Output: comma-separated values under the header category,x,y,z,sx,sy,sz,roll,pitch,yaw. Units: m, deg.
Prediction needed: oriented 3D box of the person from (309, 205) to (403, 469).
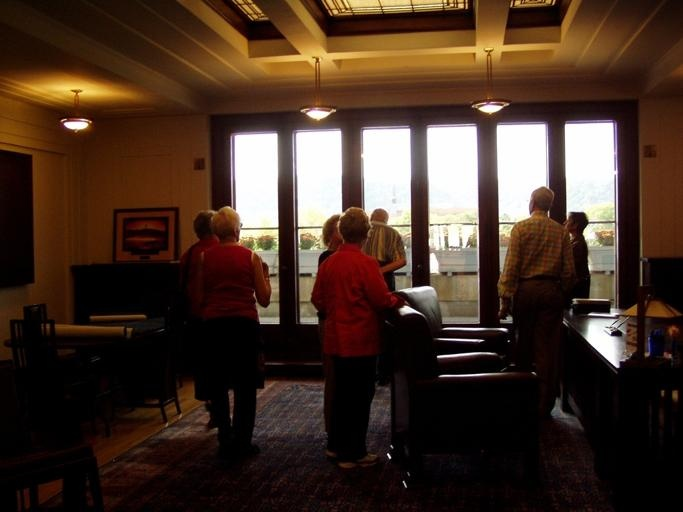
category,x,y,z,sx,sy,sz,roll,pitch,yaw
person,0.105,0.666,4.468,0.701,2.089,0.379,-2,4,8

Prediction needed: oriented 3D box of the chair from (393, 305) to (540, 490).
category,x,y,z,sx,sy,sz,roll,pitch,yaw
chair,0.934,0.972,4.788,1.170,1.333,1.642,-1,-1,1

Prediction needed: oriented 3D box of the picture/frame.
category,x,y,z,sx,sy,sz,roll,pitch,yaw
picture/frame,-2.924,-0.301,8.470,0.829,0.711,0.059,0,-4,8

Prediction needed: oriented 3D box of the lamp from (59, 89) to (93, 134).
category,x,y,z,sx,sy,sz,roll,pitch,yaw
lamp,-3.715,-2.031,7.784,0.425,0.616,0.433,0,-5,4

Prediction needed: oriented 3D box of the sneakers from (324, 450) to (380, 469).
category,x,y,z,sx,sy,sz,roll,pitch,yaw
sneakers,0.094,1.635,4.625,0.413,0.183,0.143,-6,-2,-4
